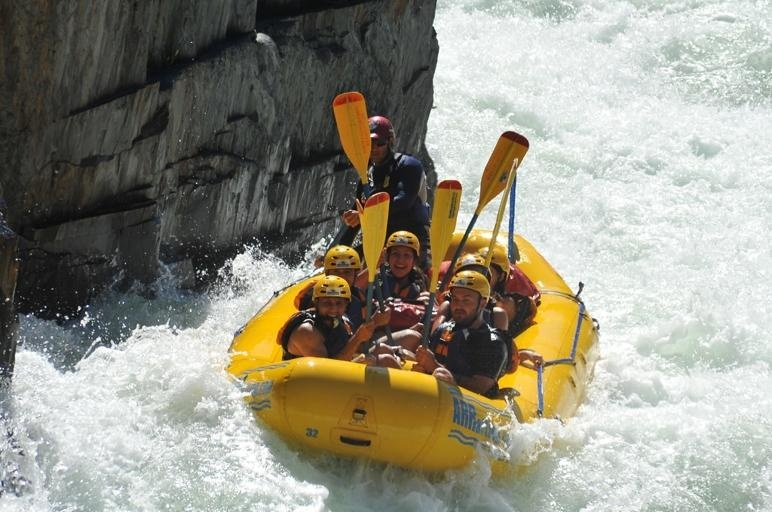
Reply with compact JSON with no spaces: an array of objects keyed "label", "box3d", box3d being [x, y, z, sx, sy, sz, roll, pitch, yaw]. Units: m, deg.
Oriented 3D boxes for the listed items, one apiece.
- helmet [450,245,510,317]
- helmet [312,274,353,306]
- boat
[{"label":"helmet","box3d":[0.931,0.333,11.727,0.474,0.646,0.569,-2,39,13]},{"label":"helmet","box3d":[-0.526,0.298,11.140,0.217,0.301,0.157,3,66,-2]},{"label":"boat","box3d":[0.663,1.080,11.344,1.975,0.906,2.700,28,44,27]}]
